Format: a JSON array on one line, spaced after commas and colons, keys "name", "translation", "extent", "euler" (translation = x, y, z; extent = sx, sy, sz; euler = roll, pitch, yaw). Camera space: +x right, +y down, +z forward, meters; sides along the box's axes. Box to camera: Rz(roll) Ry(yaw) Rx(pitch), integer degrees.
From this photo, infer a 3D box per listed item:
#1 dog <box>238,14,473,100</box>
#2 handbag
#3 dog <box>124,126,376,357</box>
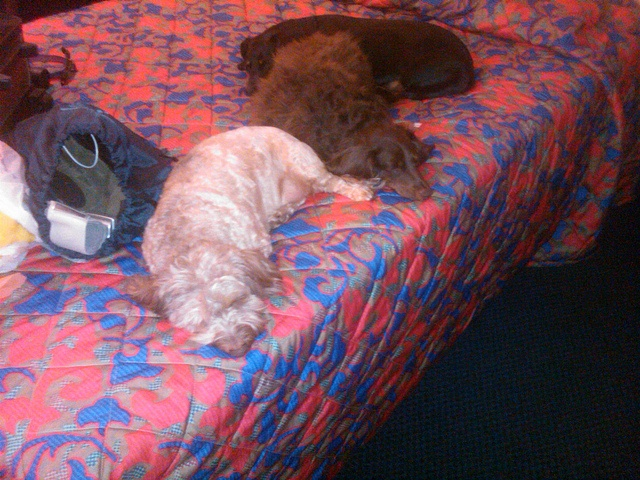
[{"name": "dog", "translation": [0.117, -0.701, 2.376], "extent": [0.796, 0.167, 0.332], "euler": [1, 38, -8]}, {"name": "handbag", "translation": [-0.678, -0.147, 1.974], "extent": [0.501, 0.191, 0.504], "euler": [-26, 82, -18]}, {"name": "dog", "translation": [-0.247, 0.005, 1.882], "extent": [0.744, 0.256, 0.617], "euler": [3, 52, 0]}]
